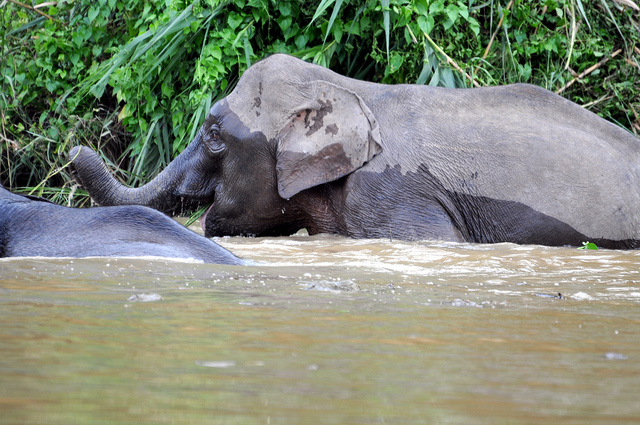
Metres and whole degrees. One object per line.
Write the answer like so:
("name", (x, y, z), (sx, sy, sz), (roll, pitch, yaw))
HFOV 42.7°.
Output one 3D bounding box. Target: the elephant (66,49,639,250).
("elephant", (0.347, -0.201, 4.967), (3.496, 1.020, 1.455), (3, 74, 6))
